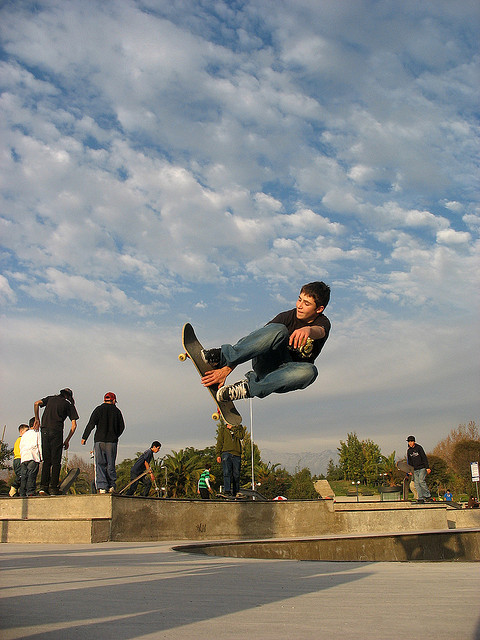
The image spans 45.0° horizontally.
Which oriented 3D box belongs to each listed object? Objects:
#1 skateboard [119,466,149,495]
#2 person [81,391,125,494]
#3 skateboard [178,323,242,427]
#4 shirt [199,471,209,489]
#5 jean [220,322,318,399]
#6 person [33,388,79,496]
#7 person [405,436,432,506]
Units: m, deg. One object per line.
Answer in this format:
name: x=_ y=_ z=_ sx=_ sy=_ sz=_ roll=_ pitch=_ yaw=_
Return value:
skateboard: x=-1.830 y=2.862 z=10.325 sx=0.228 sy=0.184 sz=1.443 roll=-9 pitch=-20 yaw=-37
person: x=-2.129 y=1.918 z=9.073 sx=0.544 sy=1.539 sz=0.622 roll=-6 pitch=-14 yaw=17
skateboard: x=-0.221 y=0.496 z=5.337 sx=0.294 sy=1.079 sz=0.182 roll=-30 pitch=0 yaw=-37
shirt: x=-0.842 y=3.697 z=13.368 sx=0.126 sy=0.304 sz=0.248 roll=13 pitch=-11 yaw=-32
jean: x=0.251 y=0.371 z=5.433 sx=0.900 sy=0.688 sz=0.546 roll=-2 pitch=-13 yaw=1
person: x=-2.950 y=1.913 z=9.295 sx=0.813 sy=1.633 sz=0.570 roll=2 pitch=-9 yaw=-2
person: x=3.928 y=3.315 z=12.801 sx=0.516 sy=1.477 sz=0.473 roll=-19 pitch=-34 yaw=33
